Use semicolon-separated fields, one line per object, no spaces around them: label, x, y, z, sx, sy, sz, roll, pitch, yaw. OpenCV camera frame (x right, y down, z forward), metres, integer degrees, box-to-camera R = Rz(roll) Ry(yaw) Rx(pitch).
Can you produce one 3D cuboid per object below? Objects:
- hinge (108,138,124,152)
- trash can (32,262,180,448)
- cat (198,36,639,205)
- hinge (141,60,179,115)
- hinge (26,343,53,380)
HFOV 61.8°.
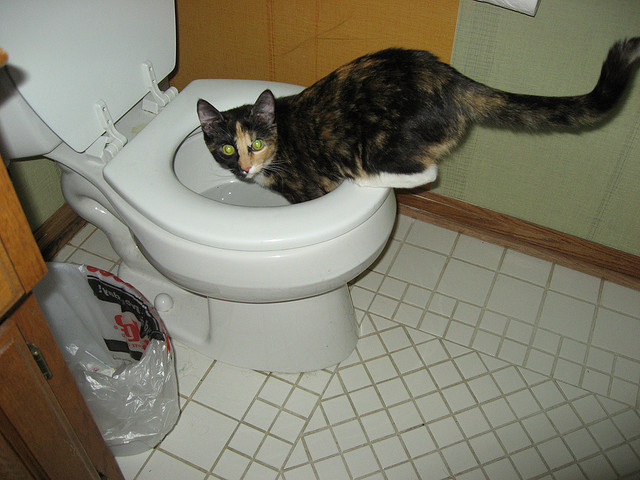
hinge;-0.462;-0.218;1.215;0.027;0.022;0.030;51;44;-5
trash can;-0.475;0.262;1.170;0.322;0.263;0.275;26;49;15
cat;0.271;-0.300;1.335;0.882;0.389;0.273;-5;63;25
hinge;-0.389;-0.371;1.289;0.072;0.116;0.070;3;43;-12
hinge;-0.463;0.202;0.885;0.016;0.060;0.014;-33;53;-22
